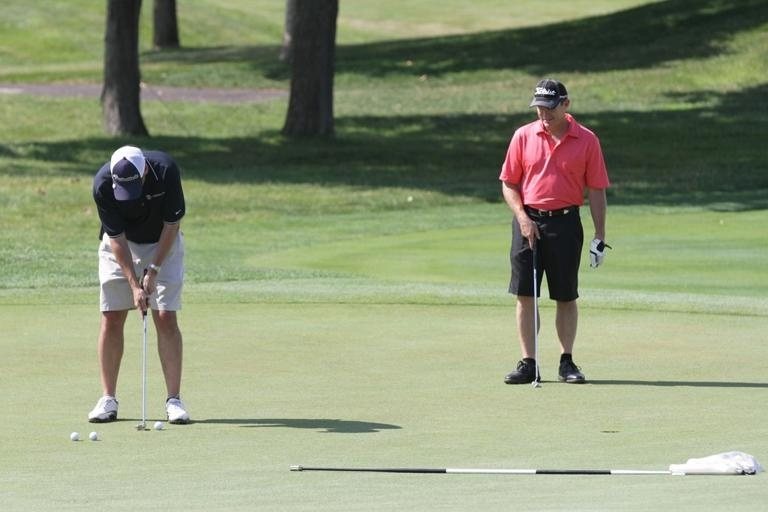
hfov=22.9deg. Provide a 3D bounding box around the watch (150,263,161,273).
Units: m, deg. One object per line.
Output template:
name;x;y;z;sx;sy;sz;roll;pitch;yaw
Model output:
watch;-2.041;0.100;17.291;0.100;0.057;0.096;19;-8;20

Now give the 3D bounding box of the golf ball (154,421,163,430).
golf ball;-1.998;1.517;17.116;0.079;0.047;0.076;0;-7;0

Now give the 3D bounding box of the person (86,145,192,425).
person;-2.180;0.242;17.311;0.806;2.489;0.500;-1;7;-6

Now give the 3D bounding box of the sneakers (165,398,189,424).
sneakers;-1.845;1.391;17.308;0.212;0.213;0.228;-1;6;-4

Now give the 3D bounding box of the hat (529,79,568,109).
hat;1.562;-1.551;18.062;0.264;0.173;0.362;5;16;18

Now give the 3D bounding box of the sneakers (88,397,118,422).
sneakers;-2.519;1.376;17.304;0.263;0.227;0.178;-1;6;-7

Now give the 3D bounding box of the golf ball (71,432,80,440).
golf ball;-2.712;1.587;16.926;0.088;0.063;0.066;19;-3;-9

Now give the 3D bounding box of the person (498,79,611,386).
person;1.637;-0.252;18.273;1.000;2.900;0.550;0;6;2

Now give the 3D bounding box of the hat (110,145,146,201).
hat;-2.277;-0.749;17.069;0.359;0.438;0.221;-1;-12;-2
